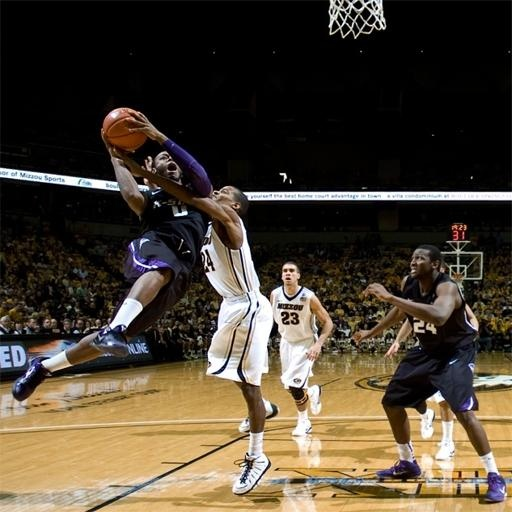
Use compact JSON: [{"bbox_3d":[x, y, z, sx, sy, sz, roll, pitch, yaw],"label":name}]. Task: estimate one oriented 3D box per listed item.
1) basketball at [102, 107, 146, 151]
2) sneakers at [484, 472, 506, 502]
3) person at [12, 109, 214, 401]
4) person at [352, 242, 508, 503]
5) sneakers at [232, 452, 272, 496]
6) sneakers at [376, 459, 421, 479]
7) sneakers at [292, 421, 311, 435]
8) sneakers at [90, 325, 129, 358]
[{"bbox_3d":[-0.831,-0.809,3.251,0.273,0.287,0.247,-1,0,-12],"label":"basketball"},{"bbox_3d":[1.406,1.358,3.034,0.109,0.160,0.238,-1,0,26],"label":"sneakers"},{"bbox_3d":[-0.742,-0.046,3.351,0.979,1.869,1.145,-1,0,26],"label":"person"},{"bbox_3d":[1.129,0.746,3.373,0.933,1.583,1.033,-1,0,6],"label":"person"},{"bbox_3d":[-0.026,1.354,3.264,0.129,0.146,0.378,-12,4,25],"label":"sneakers"},{"bbox_3d":[0.913,1.446,3.515,0.367,0.138,0.114,-1,-12,3],"label":"sneakers"},{"bbox_3d":[0.457,1.739,5.207,0.191,0.150,0.269,-1,0,6],"label":"sneakers"},{"bbox_3d":[-0.823,0.483,2.986,0.231,0.125,0.138,-6,-20,33],"label":"sneakers"}]
